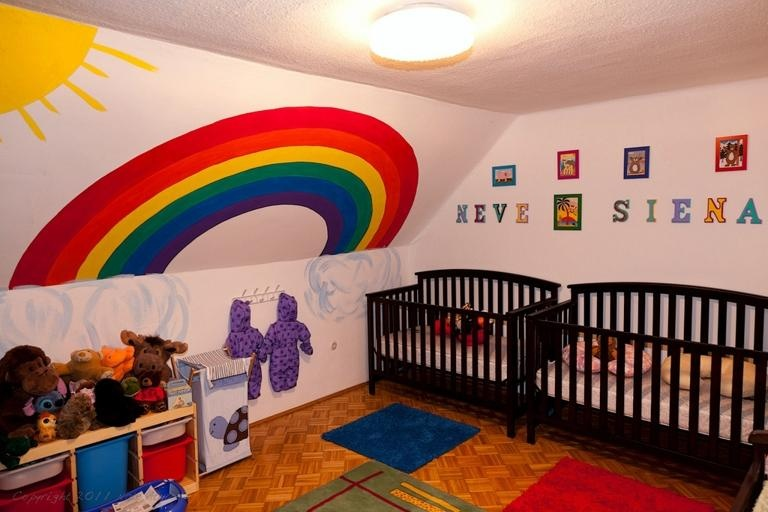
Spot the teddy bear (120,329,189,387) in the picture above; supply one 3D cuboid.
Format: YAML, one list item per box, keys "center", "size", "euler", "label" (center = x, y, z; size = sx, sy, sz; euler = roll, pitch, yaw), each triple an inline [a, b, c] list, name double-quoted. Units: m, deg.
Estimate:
- center: [-1.917, 0.859, 4.135]
  size: [0.517, 0.418, 0.295]
  euler: [10, -4, -14]
  label: "teddy bear"

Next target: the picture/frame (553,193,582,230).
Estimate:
- center: [1.862, -0.448, 5.081]
  size: [0.376, 0.482, 0.034]
  euler: [-1, -2, 42]
  label: "picture/frame"

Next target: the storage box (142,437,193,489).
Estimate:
- center: [-1.672, 1.557, 3.922]
  size: [0.390, 0.286, 0.302]
  euler: [2, -7, -41]
  label: "storage box"

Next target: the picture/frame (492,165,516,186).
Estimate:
- center: [1.305, -0.865, 5.448]
  size: [0.243, 0.200, 0.009]
  euler: [1, 1, 43]
  label: "picture/frame"

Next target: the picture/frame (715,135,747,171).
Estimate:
- center: [2.969, -0.871, 4.314]
  size: [0.223, 0.299, 0.080]
  euler: [4, 15, 25]
  label: "picture/frame"

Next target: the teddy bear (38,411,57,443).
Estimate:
- center: [-2.321, 1.170, 3.484]
  size: [0.122, 0.171, 0.125]
  euler: [-11, 16, -33]
  label: "teddy bear"

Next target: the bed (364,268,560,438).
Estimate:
- center: [0.794, 0.884, 5.373]
  size: [1.766, 1.225, 1.069]
  euler: [4, 8, 41]
  label: "bed"
